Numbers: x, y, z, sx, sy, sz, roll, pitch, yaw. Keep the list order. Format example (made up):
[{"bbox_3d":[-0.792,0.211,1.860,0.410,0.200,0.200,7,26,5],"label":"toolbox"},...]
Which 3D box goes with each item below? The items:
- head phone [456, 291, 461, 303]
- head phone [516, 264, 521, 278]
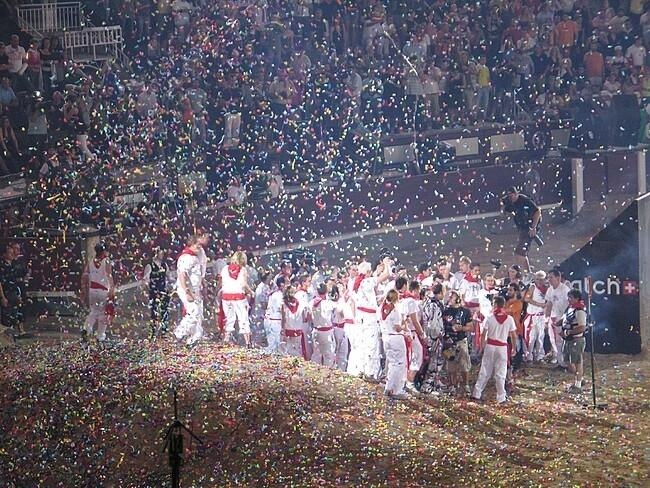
[{"bbox_3d":[2.919,1.199,26.811,0.066,0.193,0.138,-5,11,-5],"label":"head phone"},{"bbox_3d":[4.405,0.648,27.968,0.201,0.285,0.118,8,1,7],"label":"head phone"}]
